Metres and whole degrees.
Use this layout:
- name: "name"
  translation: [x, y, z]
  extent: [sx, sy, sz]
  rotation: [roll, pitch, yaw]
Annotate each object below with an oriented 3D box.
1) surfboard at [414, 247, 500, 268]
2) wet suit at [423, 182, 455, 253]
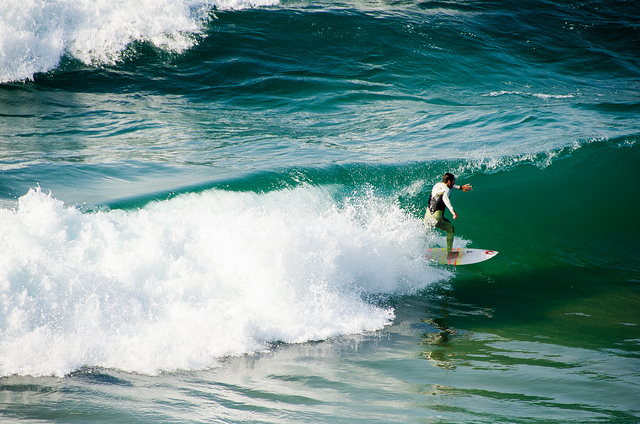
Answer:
- name: "surfboard"
  translation: [4.369, 1.427, 26.124]
  extent: [3.249, 0.344, 0.688]
  rotation: [2, 45, -1]
- name: "wet suit"
  translation: [3.552, 0.173, 25.702]
  extent: [0.898, 2.097, 0.756]
  rotation: [7, 5, 12]
